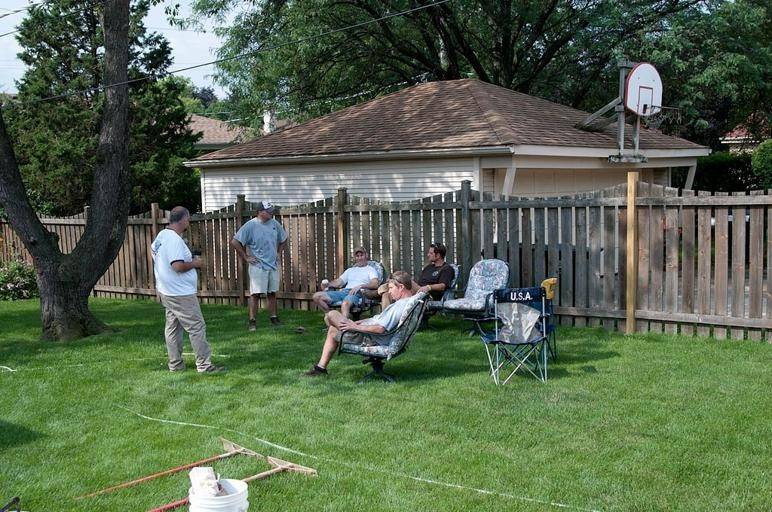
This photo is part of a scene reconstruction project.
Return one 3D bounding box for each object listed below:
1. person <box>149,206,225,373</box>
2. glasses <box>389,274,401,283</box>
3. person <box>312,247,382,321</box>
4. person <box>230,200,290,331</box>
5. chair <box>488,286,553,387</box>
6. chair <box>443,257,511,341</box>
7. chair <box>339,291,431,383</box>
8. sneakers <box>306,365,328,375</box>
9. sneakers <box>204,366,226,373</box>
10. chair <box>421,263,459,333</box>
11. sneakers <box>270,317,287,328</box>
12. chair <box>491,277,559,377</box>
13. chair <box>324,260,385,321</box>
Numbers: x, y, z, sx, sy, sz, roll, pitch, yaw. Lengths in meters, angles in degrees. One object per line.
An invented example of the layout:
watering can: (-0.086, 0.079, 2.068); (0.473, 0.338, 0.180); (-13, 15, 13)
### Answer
person: (-3.386, 0.542, 13.342); (1.003, 2.735, 0.561); (0, 2, 18)
glasses: (0.161, 0.361, 13.241); (0.076, 0.104, 0.158); (-22, 1, -34)
person: (-0.753, 0.663, 15.907); (1.194, 1.804, 1.148); (5, -2, -2)
person: (-2.592, 0.146, 16.546); (1.054, 2.523, 0.708); (-1, 2, -15)
chair: (2.161, 1.274, 13.325); (1.133, 1.731, 1.278); (1, 10, 21)
chair: (1.846, 0.706, 15.504); (1.093, 1.716, 1.473); (4, 5, 39)
chair: (-0.063, 1.351, 13.071); (1.302, 1.372, 0.954); (0, -2, 4)
sneakers: (-1.119, 1.845, 13.046); (0.314, 0.151, 0.142); (3, -6, 0)
sneakers: (-2.848, 1.873, 13.305); (0.349, 0.167, 0.124); (-3, 4, -5)
chair: (1.117, 0.789, 15.763); (1.115, 1.329, 0.868); (0, -1, -16)
sneakers: (-2.235, 1.355, 16.644); (0.357, 0.270, 0.136); (-2, 0, 30)
chair: (2.174, 1.226, 13.248); (1.015, 1.643, 1.149); (-2, 4, 6)
chair: (-0.667, 0.731, 15.887); (0.938, 1.282, 1.148); (8, 10, 37)
